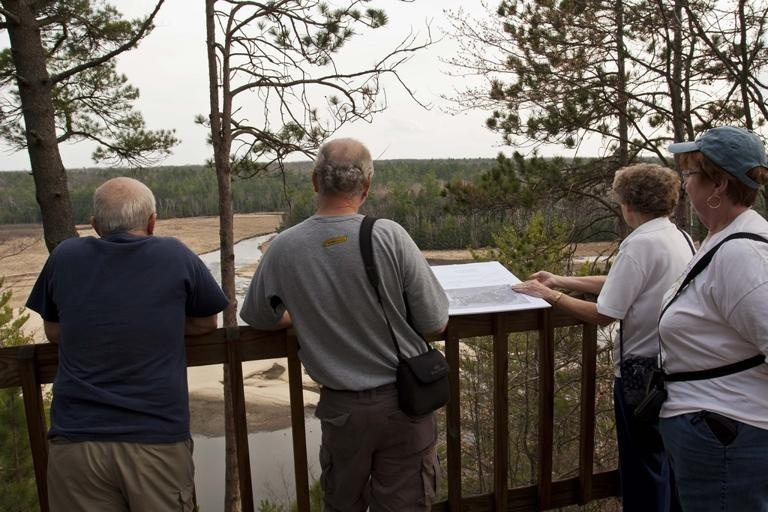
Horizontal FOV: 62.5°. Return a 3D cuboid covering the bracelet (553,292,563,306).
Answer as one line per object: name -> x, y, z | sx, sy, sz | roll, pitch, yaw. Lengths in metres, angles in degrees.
bracelet -> 1.087, 0.270, 3.952 | 0.016, 0.062, 0.064 | 21, -22, 13

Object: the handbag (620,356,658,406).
handbag -> 1.513, 0.748, 3.804 | 0.225, 0.267, 0.063 | 9, 3, 10

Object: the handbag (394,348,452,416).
handbag -> 0.198, 0.698, 3.488 | 0.172, 0.365, 0.336 | -6, -2, 41
